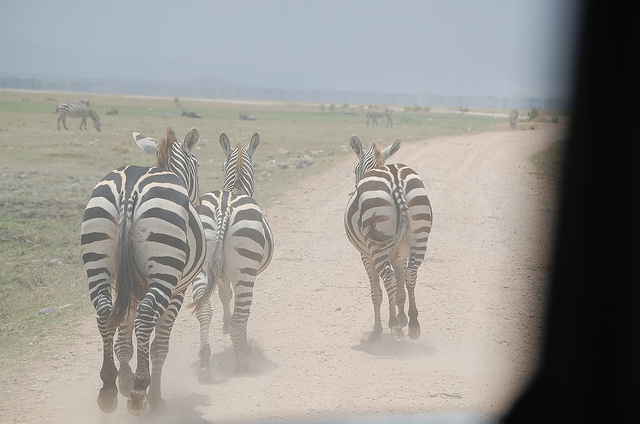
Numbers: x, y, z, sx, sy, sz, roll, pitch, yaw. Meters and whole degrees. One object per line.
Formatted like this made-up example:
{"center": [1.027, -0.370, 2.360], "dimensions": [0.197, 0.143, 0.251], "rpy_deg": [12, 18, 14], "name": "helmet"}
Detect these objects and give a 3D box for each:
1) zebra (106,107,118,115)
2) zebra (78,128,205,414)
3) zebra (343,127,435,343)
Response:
{"center": [-10.165, -4.904, 32.394], "dimensions": [0.536, 0.266, 0.891], "rpy_deg": [-2, 11, -19], "name": "zebra"}
{"center": [-2.485, 1.072, 9.231], "dimensions": [1.586, 3.332, 0.958], "rpy_deg": [-1, 10, -15], "name": "zebra"}
{"center": [1.204, 0.357, 11.694], "dimensions": [1.513, 3.279, 2.845], "rpy_deg": [3, 10, 8], "name": "zebra"}
